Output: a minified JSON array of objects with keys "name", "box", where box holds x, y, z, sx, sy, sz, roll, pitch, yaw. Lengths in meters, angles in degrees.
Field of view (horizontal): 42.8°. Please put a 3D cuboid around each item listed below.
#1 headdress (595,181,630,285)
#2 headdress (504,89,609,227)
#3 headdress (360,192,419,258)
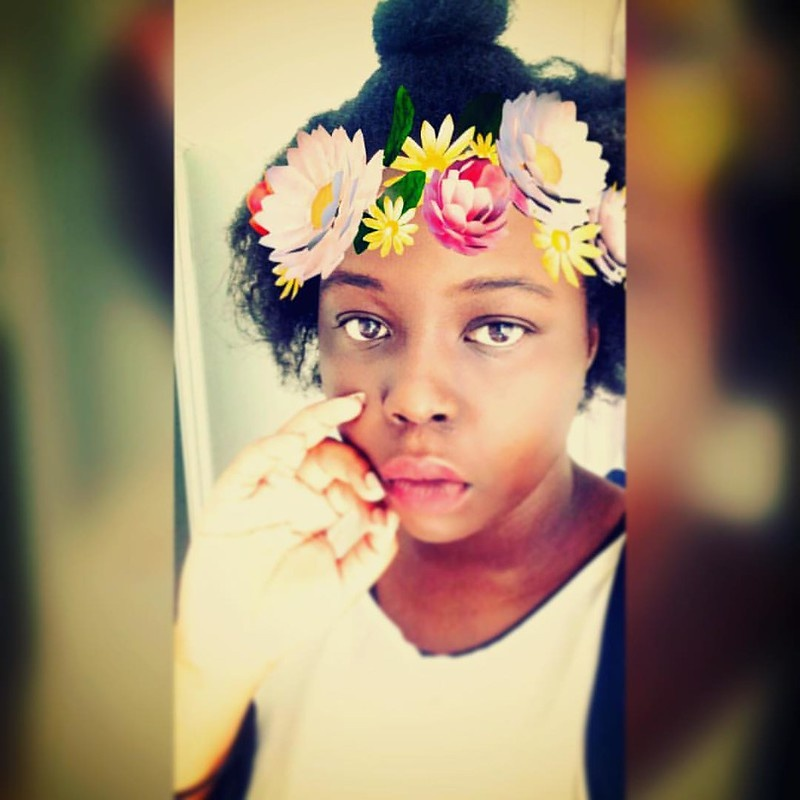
[{"name":"headdress","box":[0.425,-0.349,2.066,0.109,0.167,0.056,0,4,-36]},{"name":"headdress","box":[0.306,-0.463,2.083,0.224,0.247,0.096,-23,-1,-37]},{"name":"headdress","box":[-0.018,-0.360,2.088,0.124,0.038,0.117,14,-27,-43]}]
